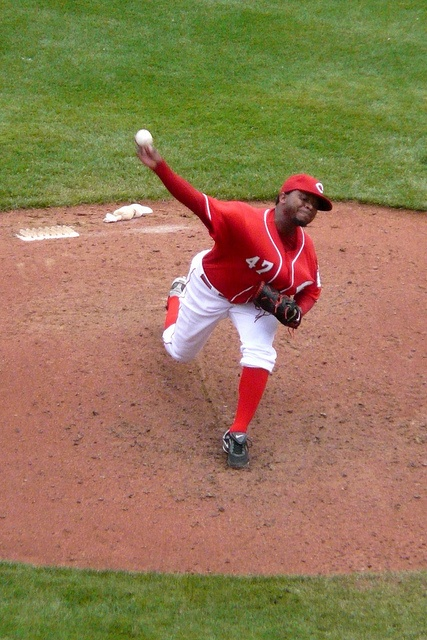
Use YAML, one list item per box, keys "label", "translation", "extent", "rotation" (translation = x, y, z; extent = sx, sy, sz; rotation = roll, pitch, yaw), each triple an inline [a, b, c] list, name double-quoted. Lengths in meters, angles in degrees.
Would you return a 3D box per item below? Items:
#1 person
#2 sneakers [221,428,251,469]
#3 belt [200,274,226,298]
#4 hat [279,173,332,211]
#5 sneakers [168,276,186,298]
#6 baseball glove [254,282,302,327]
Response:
- label: "person"
  translation: [0.112, 0.011, 4.023]
  extent: [0.836, 1.633, 0.825]
  rotation: [8, 10, 7]
- label: "sneakers"
  translation: [0.125, 0.706, 4.157]
  extent: [0.110, 0.108, 0.229]
  rotation: [-2, 53, -22]
- label: "belt"
  translation: [-0.004, -0.201, 4.153]
  extent: [0.131, 0.051, 0.099]
  rotation: [43, 8, -9]
- label: "hat"
  translation: [0.479, -0.683, 3.939]
  extent: [0.237, 0.125, 0.183]
  rotation: [27, 11, 25]
- label: "sneakers"
  translation: [-0.243, -0.221, 5.124]
  extent: [0.078, 0.094, 0.219]
  rotation: [11, 37, -5]
- label: "baseball glove"
  translation: [0.334, -0.081, 4.024]
  extent: [0.270, 0.157, 0.111]
  rotation: [37, 10, -24]
